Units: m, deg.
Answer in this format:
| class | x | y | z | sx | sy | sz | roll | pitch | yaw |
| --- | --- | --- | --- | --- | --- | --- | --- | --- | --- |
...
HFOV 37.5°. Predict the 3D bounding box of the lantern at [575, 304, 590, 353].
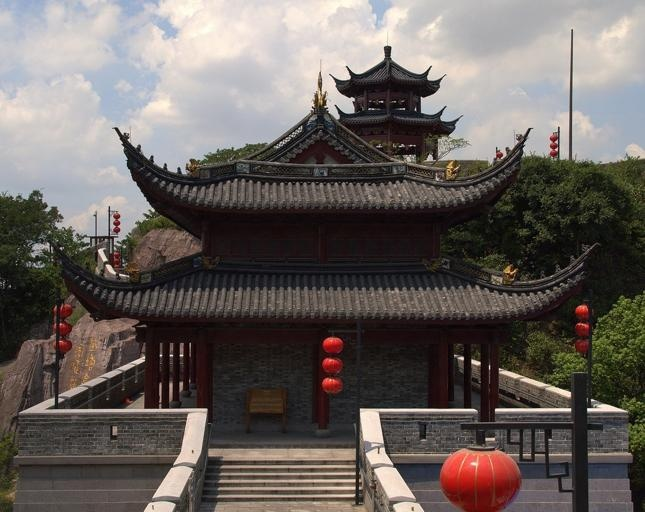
| class | x | y | z | sx | sy | sz | roll | pitch | yaw |
| --- | --- | --- | --- | --- | --- | --- | --- | --- | --- |
| lantern | 8.395 | 2.289 | 30.560 | 0.421 | 1.602 | 1.120 | -3 | -12 | 9 |
